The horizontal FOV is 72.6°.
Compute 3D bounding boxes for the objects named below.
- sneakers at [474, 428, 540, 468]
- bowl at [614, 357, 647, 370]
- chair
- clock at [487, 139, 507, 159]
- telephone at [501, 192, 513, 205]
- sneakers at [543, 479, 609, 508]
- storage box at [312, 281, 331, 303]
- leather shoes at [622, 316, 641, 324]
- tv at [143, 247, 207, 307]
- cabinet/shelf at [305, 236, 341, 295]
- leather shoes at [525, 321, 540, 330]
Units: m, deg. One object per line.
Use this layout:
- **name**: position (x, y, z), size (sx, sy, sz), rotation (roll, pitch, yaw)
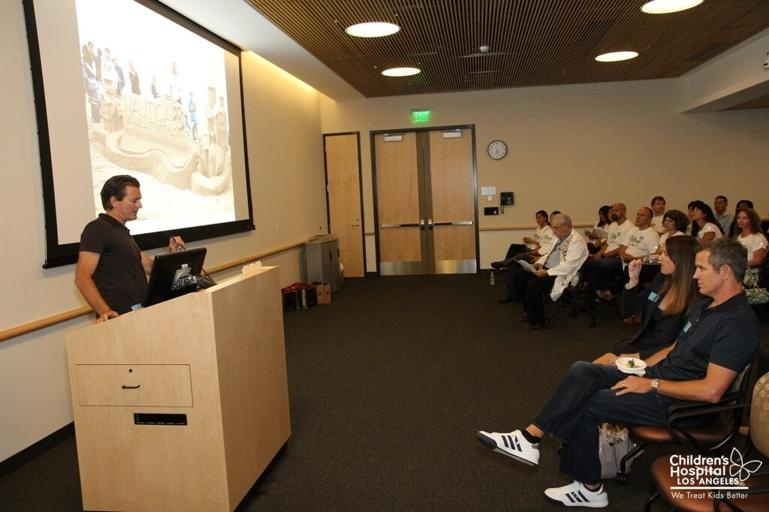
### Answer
- **sneakers**: position (1.011, 1.481, 4.208), size (0.584, 0.257, 0.214), rotation (17, -20, 12)
- **bowl**: position (1.962, 0.860, 4.168), size (0.118, 0.032, 0.120), rotation (0, 12, 0)
- **chair**: position (2.013, 0.907, 3.903), size (1.346, 2.020, 0.638), rotation (-5, 13, -12)
- **clock**: position (2.547, -2.421, 11.688), size (0.427, 0.434, 0.045), rotation (1, 3, 4)
- **telephone**: position (2.770, -1.292, 11.702), size (0.289, 0.272, 0.069), rotation (1, -2, 10)
- **sneakers**: position (1.508, 1.852, 4.138), size (0.524, 0.228, 0.190), rotation (3, 5, 11)
- **storage box**: position (-1.112, 0.689, 9.724), size (0.279, 0.499, 0.510), rotation (-1, 6, 10)
- **leather shoes**: position (3.653, 0.941, 7.666), size (0.223, 0.089, 0.124), rotation (3, 7, 4)
- **tv**: position (-1.588, 0.136, 4.072), size (0.210, 0.375, 0.585), rotation (4, 15, 29)
- **cabinet/shelf**: position (-1.241, 0.202, 10.433), size (0.383, 1.088, 1.082), rotation (-2, 4, 13)
- **leather shoes**: position (2.148, 1.015, 7.547), size (0.201, 0.092, 0.081), rotation (4, -3, -2)
